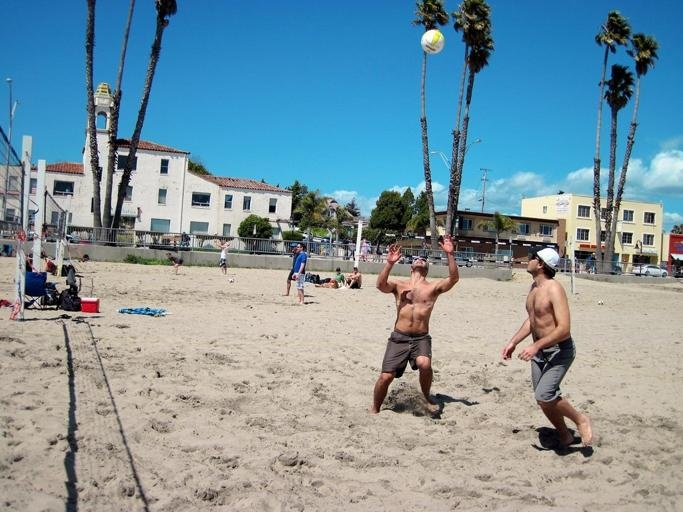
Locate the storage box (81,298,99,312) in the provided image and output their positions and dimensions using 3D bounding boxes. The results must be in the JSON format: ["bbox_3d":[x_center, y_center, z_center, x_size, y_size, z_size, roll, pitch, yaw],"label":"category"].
[{"bbox_3d":[-4.767,0.912,10.732,0.332,0.344,0.236,1,9,-13],"label":"storage box"}]

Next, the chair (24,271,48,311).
[{"bbox_3d":[-5.775,0.650,10.649,0.506,0.758,0.507,3,4,-45],"label":"chair"}]

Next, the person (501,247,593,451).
[{"bbox_3d":[2.145,0.943,5.781,0.905,2.019,1.002,4,10,18],"label":"person"}]

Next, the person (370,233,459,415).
[{"bbox_3d":[0.834,0.791,6.604,0.988,2.088,0.939,-2,10,-23],"label":"person"}]
